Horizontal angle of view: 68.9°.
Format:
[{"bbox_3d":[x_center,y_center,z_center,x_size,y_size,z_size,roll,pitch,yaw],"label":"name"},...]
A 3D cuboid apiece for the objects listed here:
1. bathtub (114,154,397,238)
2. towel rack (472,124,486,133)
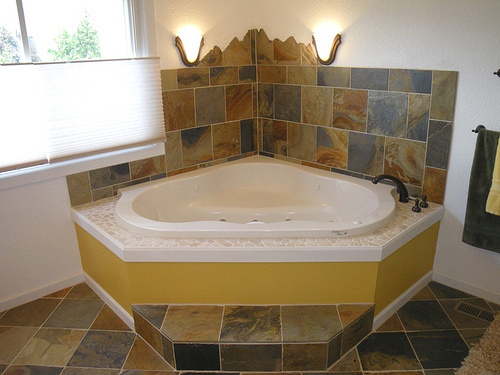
[{"bbox_3d":[0.047,0.158,3.236,2.258,0.383,1.422,2,22,3],"label":"bathtub"},{"bbox_3d":[1.647,-0.437,2.640,0.098,0.057,0.062,-9,16,32],"label":"towel rack"}]
